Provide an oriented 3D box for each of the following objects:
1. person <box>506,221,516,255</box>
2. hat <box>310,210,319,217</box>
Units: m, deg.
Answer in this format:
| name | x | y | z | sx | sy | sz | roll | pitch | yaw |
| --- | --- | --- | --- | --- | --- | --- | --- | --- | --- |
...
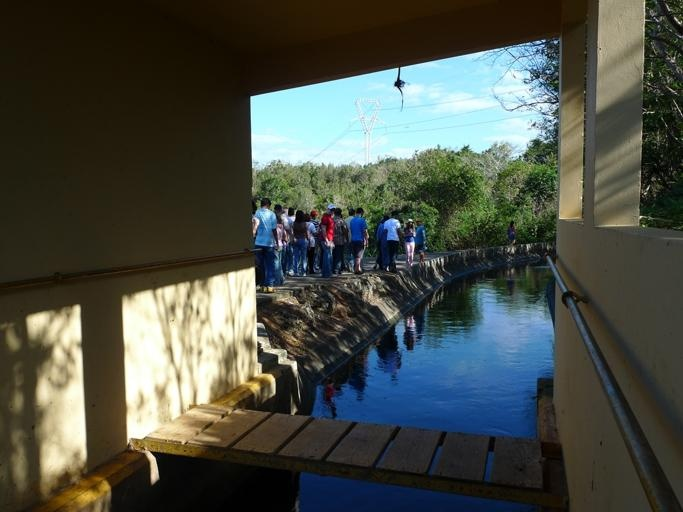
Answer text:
| name | x | y | z | sx | sy | sz | roll | pitch | yaw |
| --- | --- | --- | --- | --- | --- | --- | --- | --- | --- |
| person | 12.384 | -1.411 | 33.039 | 0.535 | 2.361 | 1.320 | 0 | -1 | 19 |
| hat | -1.059 | -1.591 | 16.603 | 0.238 | 0.235 | 0.300 | -1 | 9 | 1 |
